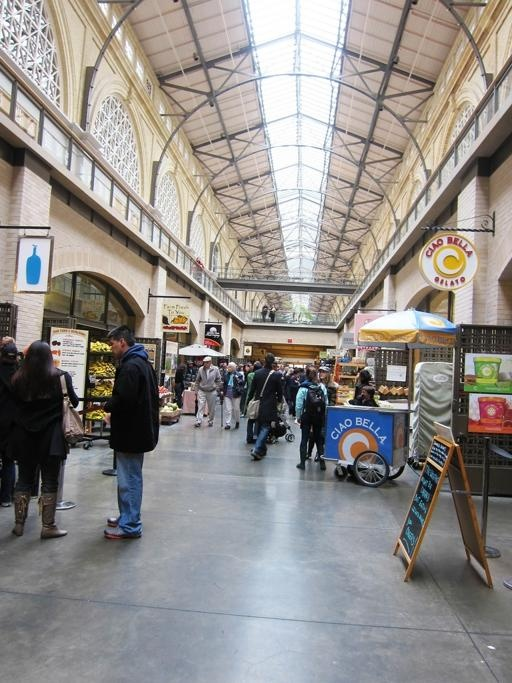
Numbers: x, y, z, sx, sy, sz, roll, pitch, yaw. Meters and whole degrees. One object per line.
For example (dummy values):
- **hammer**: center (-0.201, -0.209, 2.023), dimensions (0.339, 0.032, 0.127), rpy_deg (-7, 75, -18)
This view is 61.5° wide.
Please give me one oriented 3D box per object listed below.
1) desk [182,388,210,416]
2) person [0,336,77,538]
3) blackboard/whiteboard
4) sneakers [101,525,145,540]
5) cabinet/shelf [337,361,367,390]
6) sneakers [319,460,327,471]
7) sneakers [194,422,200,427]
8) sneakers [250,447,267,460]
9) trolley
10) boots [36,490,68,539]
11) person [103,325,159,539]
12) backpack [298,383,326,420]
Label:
- **desk**: center (-2.584, 2.604, 17.854), dimensions (0.880, 0.927, 0.941), rpy_deg (1, -11, -2)
- **person**: center (-1.990, 0.877, 3.905), dimensions (0.665, 1.693, 0.493), rpy_deg (-5, -10, 41)
- **blackboard/whiteboard**: center (1.317, 1.288, 3.435), dimensions (0.448, 1.014, 0.897), rpy_deg (-1, -9, 20)
- **sneakers**: center (-1.186, 1.692, 3.796), dimensions (0.271, 0.140, 0.125), rpy_deg (10, -4, -15)
- **cabinet/shelf**: center (4.285, 1.596, 19.911), dimensions (1.703, 0.971, 1.320), rpy_deg (7, 8, 34)
- **sneakers**: center (1.215, 2.339, 8.021), dimensions (0.079, 0.216, 0.203), rpy_deg (1, -9, 0)
- **sneakers**: center (-1.772, 2.536, 12.939), dimensions (0.168, 0.196, 0.149), rpy_deg (3, 3, -18)
- **sneakers**: center (0.034, 2.275, 8.531), dimensions (0.138, 0.205, 0.440), rpy_deg (-4, -15, 6)
- **trolley**: center (1.790, 1.771, 7.191), dimensions (1.190, 1.267, 0.892), rpy_deg (-1, -6, 37)
- **boots**: center (-1.772, 1.535, 3.792), dimensions (0.239, 0.365, 0.252), rpy_deg (7, -9, -32)
- **person**: center (-1.153, 0.801, 3.971), dimensions (0.501, 1.914, 0.548), rpy_deg (5, -8, -18)
- **backpack**: center (0.969, 1.080, 7.723), dimensions (0.435, 0.695, 0.633), rpy_deg (2, 2, 1)
